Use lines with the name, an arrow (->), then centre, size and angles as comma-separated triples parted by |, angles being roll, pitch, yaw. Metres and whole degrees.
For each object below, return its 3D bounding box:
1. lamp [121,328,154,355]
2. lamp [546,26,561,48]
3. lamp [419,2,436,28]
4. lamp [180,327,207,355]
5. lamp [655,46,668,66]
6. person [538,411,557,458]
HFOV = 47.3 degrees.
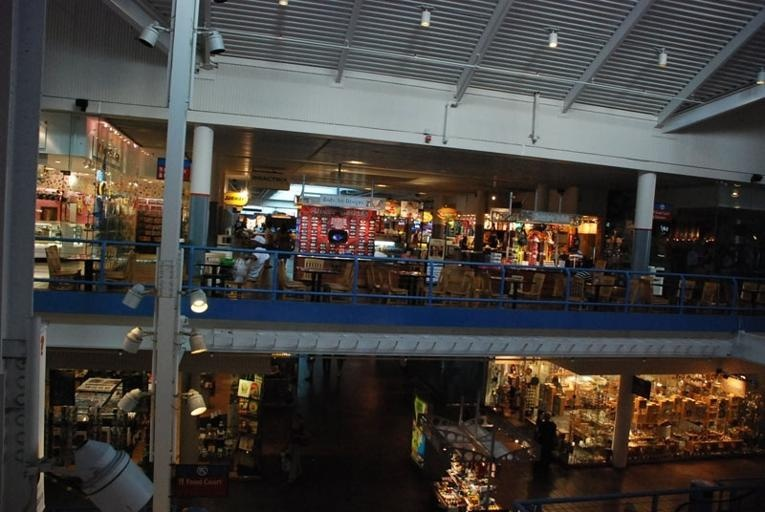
lamp -> -4.341, 1.485, 15.314 | 0.427, 0.321, 0.535 | 2, 2, -24
lamp -> 3.666, -4.669, 18.644 | 0.353, 0.497, 0.353 | 1, -5, 0
lamp -> 0.901, -5.028, 18.283 | 0.395, 0.534, 0.399 | 2, 1, -37
lamp -> -3.531, 1.559, 16.191 | 0.473, 0.615, 2.039 | 3, 2, -11
lamp -> 6.185, -4.354, 19.184 | 0.237, 0.399, 0.833 | 4, 2, 17
person -> 4.148, 4.503, 21.750 | 0.458, 1.481, 0.442 | -2, 32, 11
